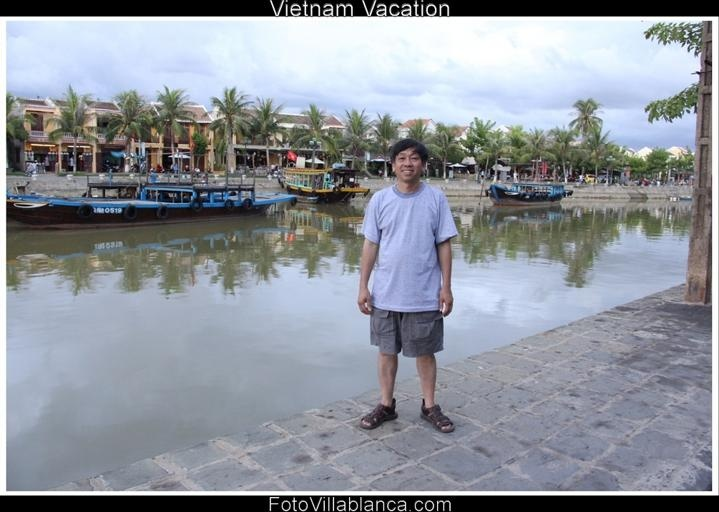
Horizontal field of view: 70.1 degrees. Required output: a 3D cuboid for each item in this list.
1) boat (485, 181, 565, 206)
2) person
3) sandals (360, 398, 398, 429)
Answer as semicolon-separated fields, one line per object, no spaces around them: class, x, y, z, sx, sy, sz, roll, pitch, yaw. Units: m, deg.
boat;13.688;-5.135;42.414;7.264;1.665;2.948;-3;7;-43
person;0.384;0.232;4.284;0.818;2.387;0.511;0;9;7
sandals;0.163;1.348;4.404;0.376;0.152;0.134;-5;2;-38
